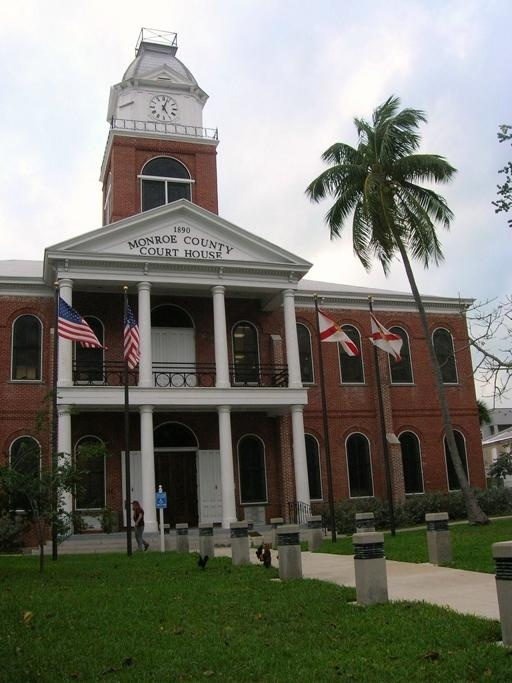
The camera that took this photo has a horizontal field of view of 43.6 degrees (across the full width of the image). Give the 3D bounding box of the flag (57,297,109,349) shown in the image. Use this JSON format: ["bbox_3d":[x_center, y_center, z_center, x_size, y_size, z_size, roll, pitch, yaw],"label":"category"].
[{"bbox_3d":[-5.061,-0.538,18.247,1.334,1.473,0.173,22,-49,-39],"label":"flag"}]

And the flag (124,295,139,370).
[{"bbox_3d":[-3.938,-0.278,20.088,0.353,2.130,0.797,-4,-15,-5],"label":"flag"}]

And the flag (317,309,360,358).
[{"bbox_3d":[3.194,-0.269,25.624,2.130,2.329,0.355,14,-41,-34],"label":"flag"}]
